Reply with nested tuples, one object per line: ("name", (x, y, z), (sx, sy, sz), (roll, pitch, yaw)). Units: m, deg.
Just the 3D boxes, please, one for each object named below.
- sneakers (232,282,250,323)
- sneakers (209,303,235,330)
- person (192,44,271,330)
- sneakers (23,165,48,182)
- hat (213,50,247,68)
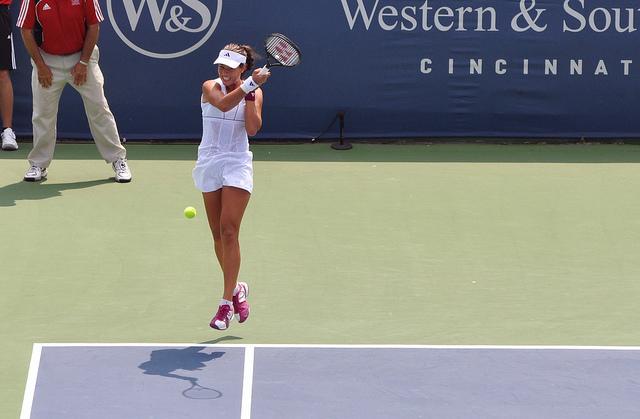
("sneakers", (-0.615, 0.761, 6.332), (0.116, 0.314, 0.147), (-7, 0, 8))
("sneakers", (-0.766, 0.855, 6.128), (0.106, 0.124, 0.284), (27, 14, 1))
("person", (-0.745, -0.192, 6.291), (0.502, 2.311, 0.614), (1, 7, -21))
("sneakers", (-3.280, -0.414, 8.873), (0.117, 0.124, 0.300), (1, -1, 1))
("hat", (-0.713, -1.218, 6.232), (0.246, 0.146, 0.192), (3, 7, -6))
